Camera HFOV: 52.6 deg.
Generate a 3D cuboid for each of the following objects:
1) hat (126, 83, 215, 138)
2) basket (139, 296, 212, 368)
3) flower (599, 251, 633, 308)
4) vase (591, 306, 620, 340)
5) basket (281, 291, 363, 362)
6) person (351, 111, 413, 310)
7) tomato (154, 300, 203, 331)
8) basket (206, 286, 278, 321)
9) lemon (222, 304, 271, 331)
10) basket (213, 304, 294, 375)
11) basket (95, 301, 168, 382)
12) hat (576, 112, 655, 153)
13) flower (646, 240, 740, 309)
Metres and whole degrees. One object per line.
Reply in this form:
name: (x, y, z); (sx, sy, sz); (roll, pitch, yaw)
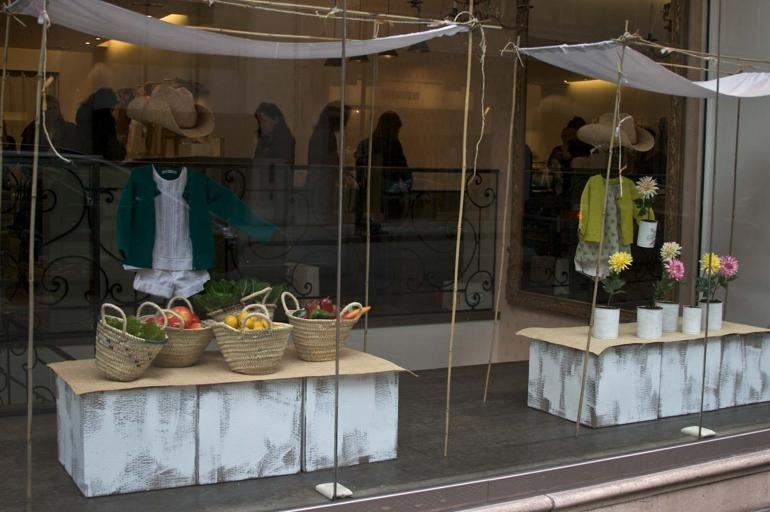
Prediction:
hat: (-1.160, -0.790, 4.248); (0.341, 0.139, 0.305); (18, 25, -5)
basket: (-1.218, 0.433, 4.450); (0.415, 0.325, 0.407); (-2, 9, -30)
flower: (1.578, 0.180, 5.370); (0.203, 0.391, 0.221); (8, 6, -36)
vase: (1.495, 0.455, 5.301); (0.205, 0.231, 0.208); (1, 0, 7)
basket: (-0.396, 0.406, 4.554); (0.506, 0.364, 0.317); (5, 2, 26)
person: (-0.050, -0.288, 4.699); (0.258, 1.144, 0.253); (1, 6, -9)
tomato: (-1.151, 0.342, 4.360); (0.161, 0.244, 0.178); (-10, -1, 12)
basket: (-0.807, 0.277, 4.382); (0.257, 0.104, 0.229); (-21, -1, -7)
lemon: (-0.788, 0.337, 4.384); (0.222, 0.202, 0.150); (-4, 12, -28)
basket: (-0.782, 0.474, 4.498); (0.474, 0.356, 0.440); (1, 2, -9)
basket: (-1.421, 0.468, 4.296); (0.408, 0.421, 0.368); (14, 2, 30)
hat: (1.598, -0.836, 5.396); (0.436, 0.176, 0.309); (10, 15, 37)
flower: (2.206, 0.122, 5.653); (0.497, 0.379, 0.473); (1, 8, -20)
